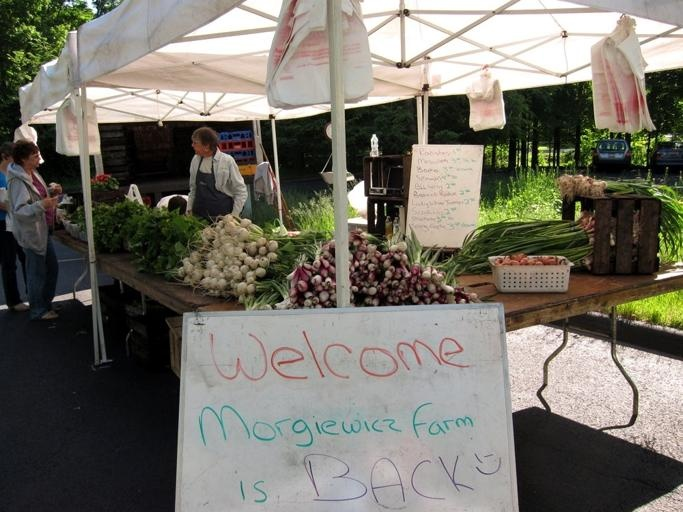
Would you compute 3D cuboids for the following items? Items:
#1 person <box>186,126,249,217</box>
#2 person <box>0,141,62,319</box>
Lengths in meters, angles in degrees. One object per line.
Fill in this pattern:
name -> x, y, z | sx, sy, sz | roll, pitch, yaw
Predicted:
person -> -1.298, -0.847, 5.711 | 0.624, 0.955, 0.611 | -4, 6, -10
person -> -3.395, -0.247, 6.190 | 0.554, 2.046, 1.095 | -5, 6, -27
